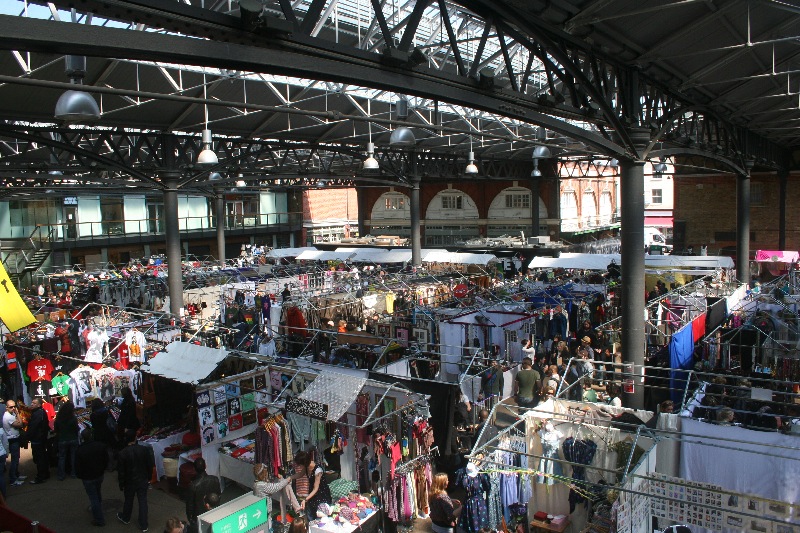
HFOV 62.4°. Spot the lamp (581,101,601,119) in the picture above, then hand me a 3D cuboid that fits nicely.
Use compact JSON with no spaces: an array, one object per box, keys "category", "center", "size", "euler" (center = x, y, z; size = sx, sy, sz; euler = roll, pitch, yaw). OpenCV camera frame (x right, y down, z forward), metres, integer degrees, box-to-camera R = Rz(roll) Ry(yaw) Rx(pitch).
[{"category":"lamp","center":[3.885,-3.143,13.409],"size":[0.159,0.308,0.800],"euler":[0,0,33]}]

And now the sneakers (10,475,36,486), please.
[{"category":"sneakers","center":[-7.685,4.377,13.491],"size":[0.495,0.188,0.159],"euler":[-2,8,-4]}]

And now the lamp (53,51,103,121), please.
[{"category":"lamp","center":[-5.790,-3.202,11.858],"size":[0.675,0.996,2.256],"euler":[1,0,-28]}]

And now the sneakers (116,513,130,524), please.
[{"category":"sneakers","center":[-5.133,4.691,12.245],"size":[0.253,0.169,0.097],"euler":[34,21,26]}]

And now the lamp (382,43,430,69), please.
[{"category":"lamp","center":[0.083,-3.375,10.468],"size":[0.773,0.443,0.250],"euler":[1,-1,-40]}]

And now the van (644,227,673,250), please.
[{"category":"van","center":[20.312,-2.527,52.159],"size":[1.505,1.530,5.781],"euler":[0,0,22]}]
